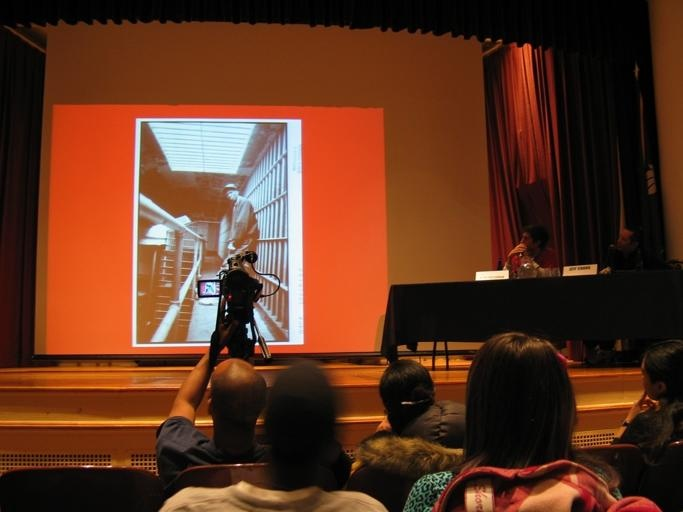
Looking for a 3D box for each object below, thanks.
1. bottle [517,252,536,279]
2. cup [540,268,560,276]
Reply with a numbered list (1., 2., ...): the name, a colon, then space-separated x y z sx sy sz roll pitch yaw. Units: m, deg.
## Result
1. bottle: 1.383 0.073 4.573 0.134 0.213 0.125 1 -17 0
2. cup: 1.492 0.117 4.377 0.089 0.042 0.093 0 -6 0
